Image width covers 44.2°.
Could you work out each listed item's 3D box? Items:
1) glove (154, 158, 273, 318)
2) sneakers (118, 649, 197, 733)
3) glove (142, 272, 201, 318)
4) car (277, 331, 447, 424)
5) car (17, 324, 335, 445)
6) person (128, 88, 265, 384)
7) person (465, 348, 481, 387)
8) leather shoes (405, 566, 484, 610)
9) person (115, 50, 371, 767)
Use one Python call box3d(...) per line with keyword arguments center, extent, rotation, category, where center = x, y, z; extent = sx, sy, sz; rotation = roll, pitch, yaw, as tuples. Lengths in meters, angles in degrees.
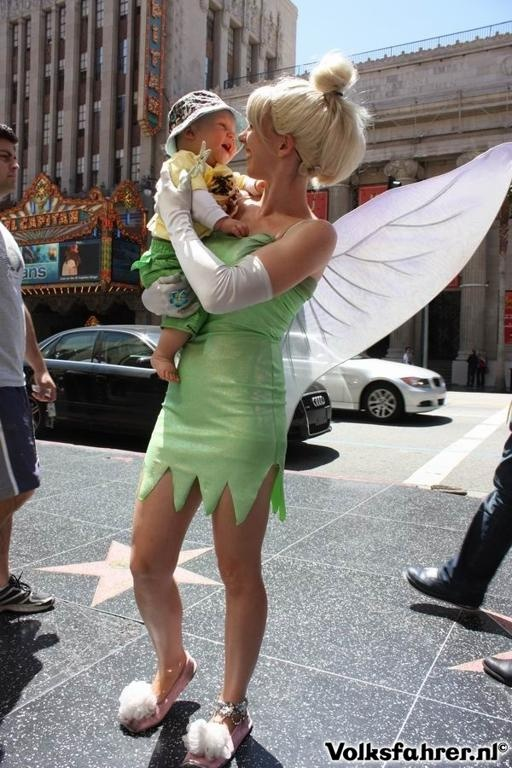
box3d(center=(-0.115, -0.376, 1.597), extent=(0.188, 0.400, 0.320), rotation=(0, 3, -34), category="glove")
box3d(center=(-0.300, 0.932, 1.924), extent=(0.119, 0.106, 0.257), rotation=(5, 7, 22), category="sneakers")
box3d(center=(-0.224, -0.233, 1.689), extent=(0.145, 0.112, 0.061), rotation=(-3, 6, -2), category="glove")
box3d(center=(1.671, -0.052, 9.999), extent=(2.786, 0.875, 1.242), rotation=(-1, 5, 15), category="car")
box3d(center=(-1.098, -0.017, 7.756), extent=(3.824, 1.183, 1.614), rotation=(-2, 1, 31), category="car")
box3d(center=(-0.129, -0.402, 1.764), extent=(0.438, 0.749, 0.353), rotation=(-3, 12, -21), category="person")
box3d(center=(8.381, -0.580, 24.145), extent=(0.395, 1.262, 0.508), rotation=(2, 3, 19), category="person")
box3d(center=(0.897, 0.931, 2.982), extent=(0.120, 0.135, 0.337), rotation=(-8, 13, -39), category="leather shoes")
box3d(center=(-0.067, 0.074, 1.802), extent=(0.603, 1.916, 0.529), rotation=(4, 4, 43), category="person")
